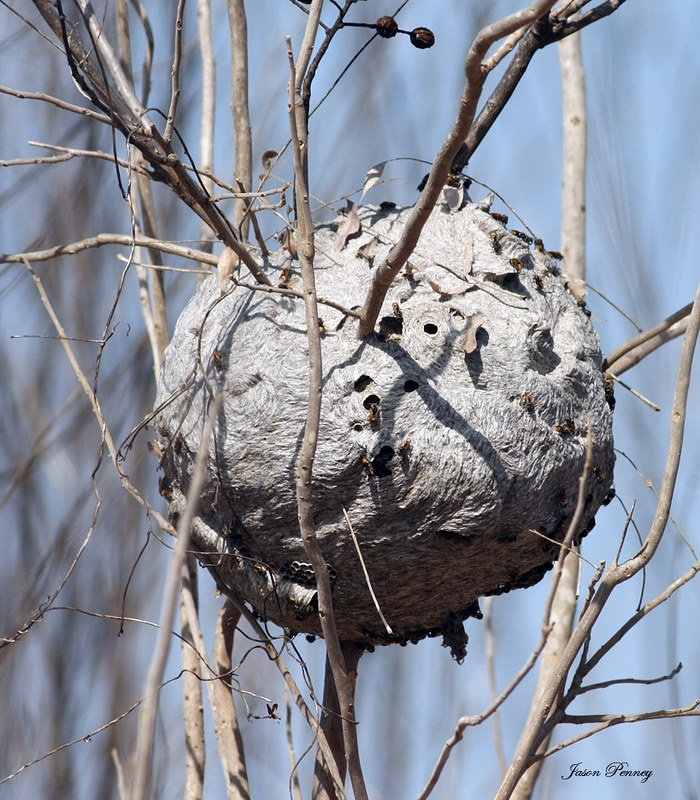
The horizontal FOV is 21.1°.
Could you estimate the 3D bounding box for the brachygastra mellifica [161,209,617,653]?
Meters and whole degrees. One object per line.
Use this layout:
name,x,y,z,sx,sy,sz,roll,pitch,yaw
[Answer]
brachygastra mellifica,0.141,0.116,6.309,1.533,1.239,1.106,-5,-58,2

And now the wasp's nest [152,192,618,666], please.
wasp's nest,0.217,0.068,6.768,1.265,1.502,1.667,-1,-85,16
